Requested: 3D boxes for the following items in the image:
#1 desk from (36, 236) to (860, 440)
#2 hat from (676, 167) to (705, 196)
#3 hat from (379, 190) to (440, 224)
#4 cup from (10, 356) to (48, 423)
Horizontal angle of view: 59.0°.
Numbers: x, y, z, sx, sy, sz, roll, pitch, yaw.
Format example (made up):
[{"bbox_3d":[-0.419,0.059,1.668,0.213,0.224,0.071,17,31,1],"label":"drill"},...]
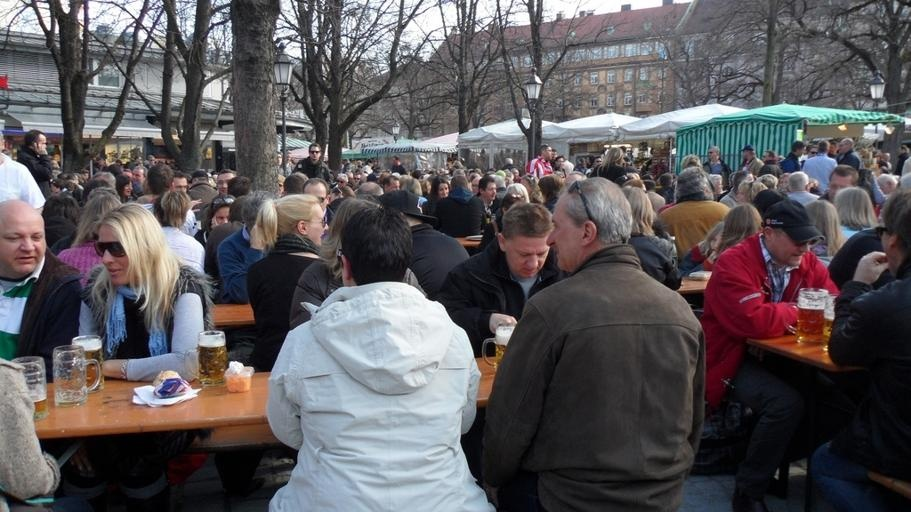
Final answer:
[{"bbox_3d":[-0.171,1.088,8.548,7.475,1.104,2.619,-2,7,-5],"label":"desk"},{"bbox_3d":[3.207,-1.026,11.007,0.413,0.367,0.355,-4,13,-11],"label":"hat"},{"bbox_3d":[-0.575,-0.658,9.368,0.506,0.183,0.444,24,6,41],"label":"hat"},{"bbox_3d":[-3.731,1.172,7.094,0.219,0.531,0.419,-6,9,-29],"label":"cup"}]
